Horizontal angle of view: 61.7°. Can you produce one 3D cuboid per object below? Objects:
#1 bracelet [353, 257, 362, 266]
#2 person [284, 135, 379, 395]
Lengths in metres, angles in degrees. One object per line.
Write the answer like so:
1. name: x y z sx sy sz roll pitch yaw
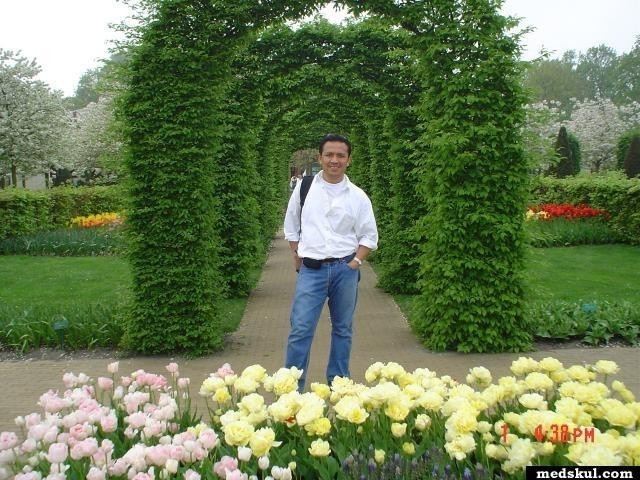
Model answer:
1. bracelet: 0.332 0.181 4.795 0.067 0.073 0.244 1 4 8
2. person: 0.090 0.148 4.783 0.824 2.179 0.499 0 5 -4
